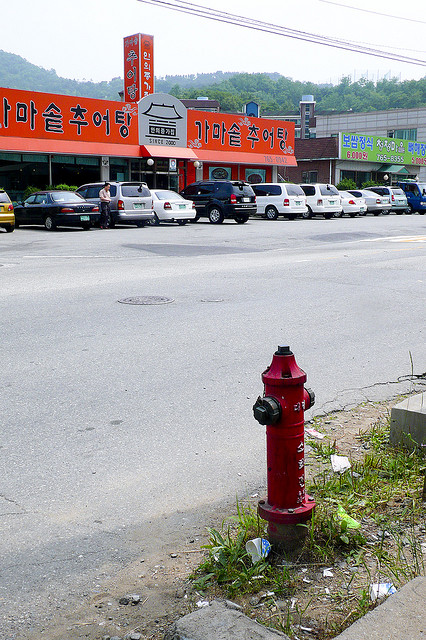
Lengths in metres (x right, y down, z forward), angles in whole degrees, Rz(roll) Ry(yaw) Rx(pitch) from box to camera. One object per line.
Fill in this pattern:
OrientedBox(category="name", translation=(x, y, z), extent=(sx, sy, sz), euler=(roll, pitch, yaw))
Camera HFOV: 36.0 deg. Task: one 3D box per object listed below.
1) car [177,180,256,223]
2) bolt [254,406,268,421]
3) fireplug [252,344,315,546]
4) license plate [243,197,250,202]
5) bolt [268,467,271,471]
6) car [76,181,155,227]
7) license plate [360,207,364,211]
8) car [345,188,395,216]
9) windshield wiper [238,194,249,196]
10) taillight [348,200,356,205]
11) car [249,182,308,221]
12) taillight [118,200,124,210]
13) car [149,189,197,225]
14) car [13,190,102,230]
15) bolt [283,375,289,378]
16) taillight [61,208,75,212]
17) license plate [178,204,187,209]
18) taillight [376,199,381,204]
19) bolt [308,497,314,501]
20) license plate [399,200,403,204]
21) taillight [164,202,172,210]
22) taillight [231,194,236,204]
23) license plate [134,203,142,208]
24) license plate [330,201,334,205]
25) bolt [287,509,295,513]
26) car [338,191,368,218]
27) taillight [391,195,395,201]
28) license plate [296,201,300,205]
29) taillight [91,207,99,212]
OrientedBox(category="car", translation=(0.096, -5.193, 28.293), extent=(3.284, 1.361, 1.604), euler=(17, 23, 39))
OrientedBox(category="bolt", translation=(0.183, 0.358, 2.517), extent=(0.056, 0.058, 0.016), euler=(10, 12, 38))
OrientedBox(category="fireplug", translation=(0.300, 0.490, 2.668), extent=(0.254, 0.799, 0.328), euler=(5, 10, 13))
OrientedBox(category="license plate", translation=(1.402, -5.023, 27.567), extent=(0.283, 0.196, 0.153), euler=(0, -7, -2))
OrientedBox(category="bolt", translation=(0.228, 0.599, 2.646), extent=(0.012, 0.009, 0.013), euler=(-1, 16, 3))
OrientedBox(category="car", translation=(-3.701, -4.563, 25.279), extent=(1.455, 1.093, 2.614), euler=(-14, 25, -41))
OrientedBox(category="license plate", translation=(7.728, -5.685, 33.943), extent=(0.206, 0.188, 0.201), euler=(0, -2, -2))
OrientedBox(category="car", translation=(8.698, -6.613, 36.987), extent=(1.072, 0.814, 2.455), euler=(-12, 21, -37))
OrientedBox(category="windshield wiper", translation=(1.302, -5.199, 27.478), extent=(0.360, 0.062, 0.039), euler=(-5, 12, -39))
OrientedBox(category="taillight", translation=(7.094, -5.957, 33.397), extent=(0.440, 0.213, 0.080), euler=(-3, 11, -30))
OrientedBox(category="car", translation=(3.118, -5.750, 31.493), extent=(1.481, 1.235, 2.909), euler=(-13, 22, -37))
OrientedBox(category="taillight", translation=(-3.432, -4.243, 24.339), extent=(0.213, 0.345, 0.100), euler=(1, 9, -10))
OrientedBox(category="car", translation=(-1.693, -4.476, 26.094), extent=(1.687, 1.225, 0.916), euler=(1, 9, -8))
OrientedBox(category="car", translation=(-5.818, -3.990, 24.129), extent=(3.239, 1.425, 1.100), euler=(10, 12, 36))
OrientedBox(category="bolt", translation=(0.283, 0.219, 2.553), extent=(0.020, 0.009, 0.010), euler=(1, 10, -10))
OrientedBox(category="taillight", translation=(-5.160, -3.860, 23.217), extent=(0.455, 0.145, 0.120), euler=(0, 10, -14))
OrientedBox(category="license plate", translation=(-1.249, -4.470, 26.078), extent=(0.230, 0.203, 0.054), euler=(-2, 3, -4))
OrientedBox(category="taillight", translation=(9.083, -6.492, 36.011), extent=(0.268, 0.264, 0.063), euler=(-4, 0, -8))
OrientedBox(category="bolt", translation=(0.412, 0.748, 2.744), extent=(0.019, 0.004, 0.019), euler=(2, -4, -42))
OrientedBox(category="license plate", translation=(10.698, -6.669, 37.316), extent=(0.351, 0.221, 0.092), euler=(-7, 13, -43))
OrientedBox(category="taillight", translation=(-1.766, -4.429, 25.722), extent=(0.207, 0.245, 0.269), euler=(3, 22, 8))
OrientedBox(category="taillight", translation=(0.844, -4.979, 27.221), extent=(0.193, 0.384, 0.146), euler=(3, 9, 1))
OrientedBox(category="license plate", translation=(-2.851, -4.280, 24.730), extent=(0.212, 0.147, 0.022), euler=(-4, 17, -17))
OrientedBox(category="license plate", translation=(5.753, -5.610, 31.666), extent=(0.162, 0.224, 0.122), euler=(7, -4, -11))
OrientedBox(category="bolt", translation=(0.309, 0.751, 2.592), extent=(0.026, 0.006, 0.020), euler=(0, 10, -12))
OrientedBox(category="car", translation=(7.204, -6.128, 34.728), extent=(1.112, 0.986, 2.780), euler=(-2, 16, -2))
OrientedBox(category="taillight", translation=(10.125, -6.823, 36.920), extent=(0.119, 0.316, 0.232), euler=(9, 11, 34))
OrientedBox(category="license plate", translation=(3.998, -5.437, 30.825), extent=(0.160, 0.107, 0.089), euler=(8, 17, 31))
OrientedBox(category="taillight", translation=(-4.262, -3.944, 23.647), extent=(0.119, 0.161, 0.418), euler=(5, 10, 15))
